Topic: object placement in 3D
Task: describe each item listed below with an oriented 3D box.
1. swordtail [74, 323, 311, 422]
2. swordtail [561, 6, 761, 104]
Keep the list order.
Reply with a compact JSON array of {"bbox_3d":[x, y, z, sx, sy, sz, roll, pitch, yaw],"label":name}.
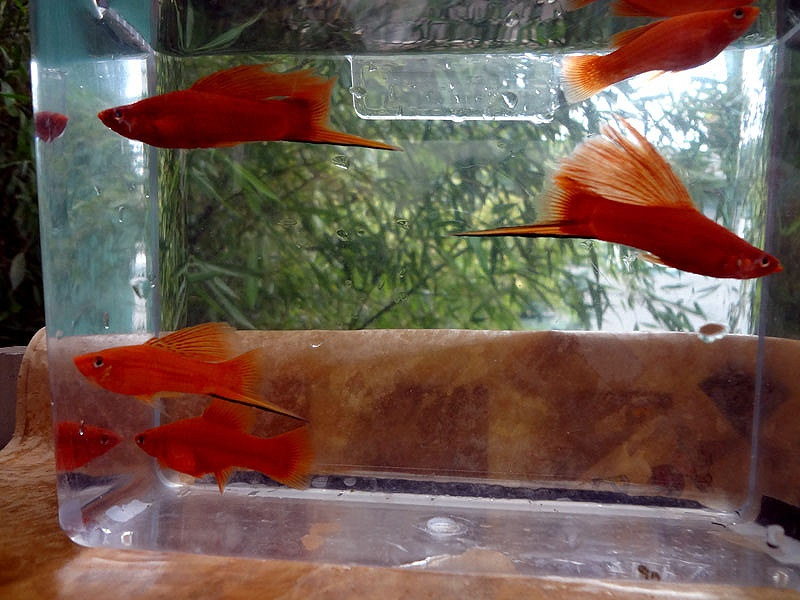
[{"bbox_3d":[-0.333,0.095,1.052,0.257,0.100,0.067,0,27,-2],"label":"swordtail"},{"bbox_3d":[0.368,-0.345,1.018,0.226,0.086,0.037,-15,30,19],"label":"swordtail"}]
